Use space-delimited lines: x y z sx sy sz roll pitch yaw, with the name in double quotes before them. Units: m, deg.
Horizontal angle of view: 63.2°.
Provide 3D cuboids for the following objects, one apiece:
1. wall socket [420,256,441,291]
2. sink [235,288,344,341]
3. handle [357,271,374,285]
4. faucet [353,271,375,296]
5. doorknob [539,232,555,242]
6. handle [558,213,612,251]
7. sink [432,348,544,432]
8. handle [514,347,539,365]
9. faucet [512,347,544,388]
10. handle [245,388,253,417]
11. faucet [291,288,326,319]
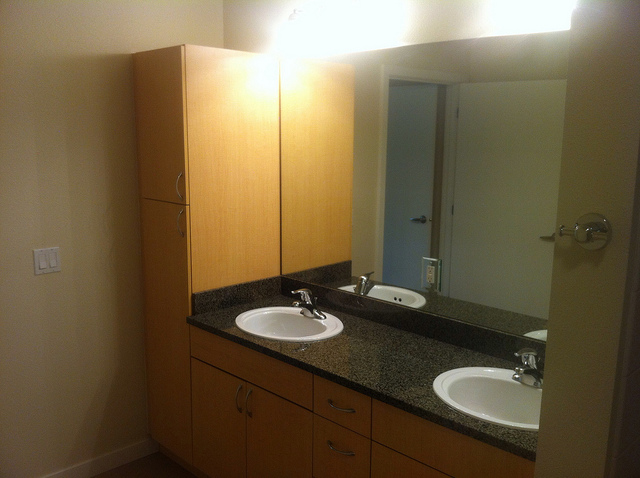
"wall socket" 0.535 0.164 2.510 0.025 0.201 0.139 -10 13 -44
"sink" -0.200 0.354 2.726 0.395 0.204 0.302 6 8 41
"handle" 0.236 0.202 2.790 0.035 0.038 0.094 -2 6 33
"faucet" 0.235 0.238 2.795 0.087 0.071 0.124 7 17 42
"doorknob" 0.936 -0.009 2.148 0.041 0.055 0.050 4 15 17
"handle" 0.620 -0.013 1.227 0.111 0.063 0.060 7 9 44
"sink" 0.680 0.595 2.047 0.323 0.232 0.325 -2 3 -41
"handle" 0.812 0.459 2.056 0.079 0.083 0.049 -6 2 0
"faucet" 0.830 0.508 2.057 0.164 0.132 0.105 5 -3 -20
"handle" -0.349 0.798 2.556 0.053 0.153 0.007 7 15 37
"faucet" -0.057 0.344 2.791 0.205 0.148 0.089 3 8 -20
